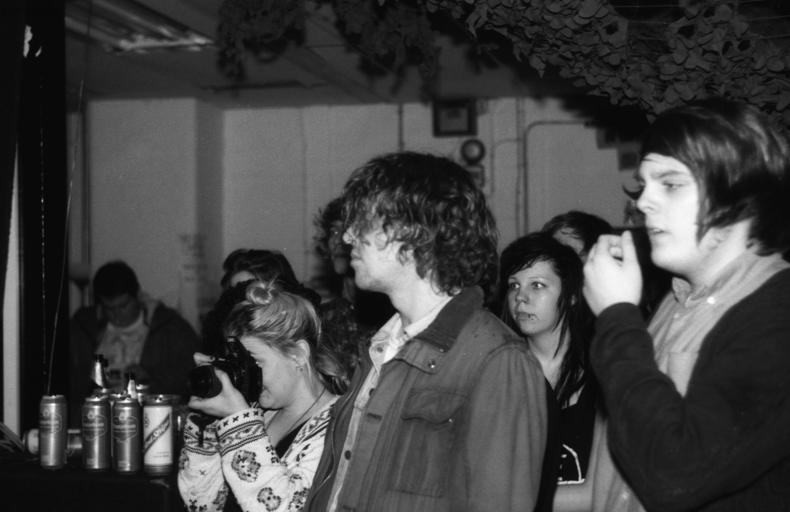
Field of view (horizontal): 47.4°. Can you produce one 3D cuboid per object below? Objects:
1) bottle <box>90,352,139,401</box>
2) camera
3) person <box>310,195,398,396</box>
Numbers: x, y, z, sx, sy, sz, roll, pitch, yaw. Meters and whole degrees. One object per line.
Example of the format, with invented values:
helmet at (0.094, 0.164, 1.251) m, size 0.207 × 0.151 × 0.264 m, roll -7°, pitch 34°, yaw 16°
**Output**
bottle at (-1.166, 0.502, 3.732) m, size 0.262 × 0.249 × 0.107 m, roll 1°, pitch -2°, yaw 16°
camera at (-0.577, 0.365, 2.970) m, size 0.204 × 0.191 × 0.187 m, roll -2°, pitch 7°, yaw -41°
person at (-0.110, 0.090, 4.230) m, size 0.297 × 0.729 × 0.260 m, roll 0°, pitch 16°, yaw -14°
